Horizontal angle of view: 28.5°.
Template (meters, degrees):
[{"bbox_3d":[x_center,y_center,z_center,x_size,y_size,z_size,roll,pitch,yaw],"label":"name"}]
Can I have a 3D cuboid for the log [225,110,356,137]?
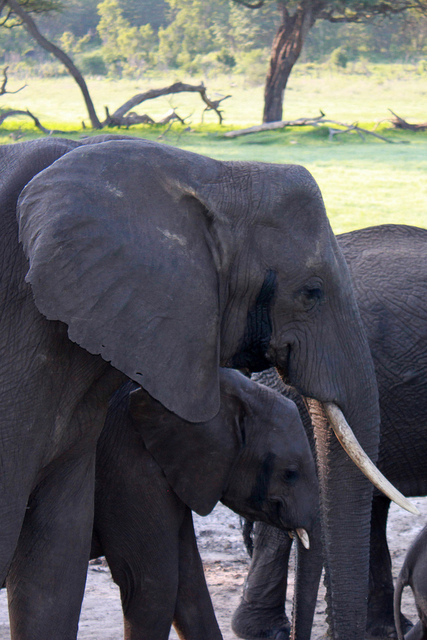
[{"bbox_3d":[0.802,-2.225,9.409,1.348,0.137,0.489,-6,39,-12],"label":"log"}]

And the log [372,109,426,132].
[{"bbox_3d":[2.132,-2.244,9.476,0.409,0.158,0.306,7,3,20],"label":"log"}]

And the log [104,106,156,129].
[{"bbox_3d":[-0.909,-2.126,8.727,0.343,0.140,0.217,-14,16,-42],"label":"log"}]

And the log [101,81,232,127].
[{"bbox_3d":[-0.542,-2.409,9.196,1.599,0.461,0.198,7,39,28],"label":"log"}]
